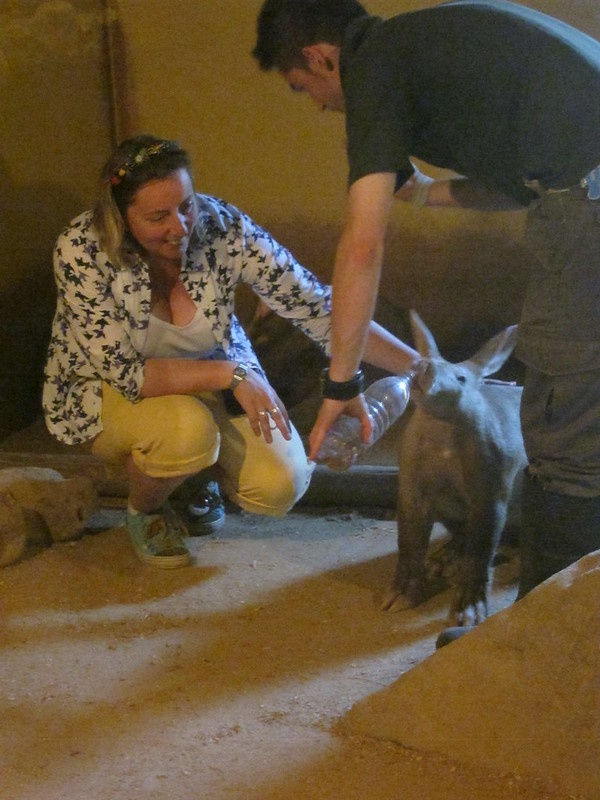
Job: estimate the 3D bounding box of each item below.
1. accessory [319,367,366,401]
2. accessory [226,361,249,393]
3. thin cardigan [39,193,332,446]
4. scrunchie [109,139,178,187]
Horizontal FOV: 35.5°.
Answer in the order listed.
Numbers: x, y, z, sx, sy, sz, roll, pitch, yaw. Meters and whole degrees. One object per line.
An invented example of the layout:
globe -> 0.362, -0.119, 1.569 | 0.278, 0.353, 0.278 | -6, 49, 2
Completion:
accessory -> 0.094, -0.036, 2.171 | 0.086, 0.042, 0.089 | 1, 18, 5
accessory -> -0.183, -0.066, 2.712 | 0.058, 0.070, 0.082 | 37, 35, 7
thin cardigan -> -0.337, -0.254, 2.922 | 0.989, 0.665, 0.741 | -24, 38, -24
scrunchie -> -0.417, -0.640, 2.517 | 0.239, 0.043, 0.081 | -26, 6, -23
